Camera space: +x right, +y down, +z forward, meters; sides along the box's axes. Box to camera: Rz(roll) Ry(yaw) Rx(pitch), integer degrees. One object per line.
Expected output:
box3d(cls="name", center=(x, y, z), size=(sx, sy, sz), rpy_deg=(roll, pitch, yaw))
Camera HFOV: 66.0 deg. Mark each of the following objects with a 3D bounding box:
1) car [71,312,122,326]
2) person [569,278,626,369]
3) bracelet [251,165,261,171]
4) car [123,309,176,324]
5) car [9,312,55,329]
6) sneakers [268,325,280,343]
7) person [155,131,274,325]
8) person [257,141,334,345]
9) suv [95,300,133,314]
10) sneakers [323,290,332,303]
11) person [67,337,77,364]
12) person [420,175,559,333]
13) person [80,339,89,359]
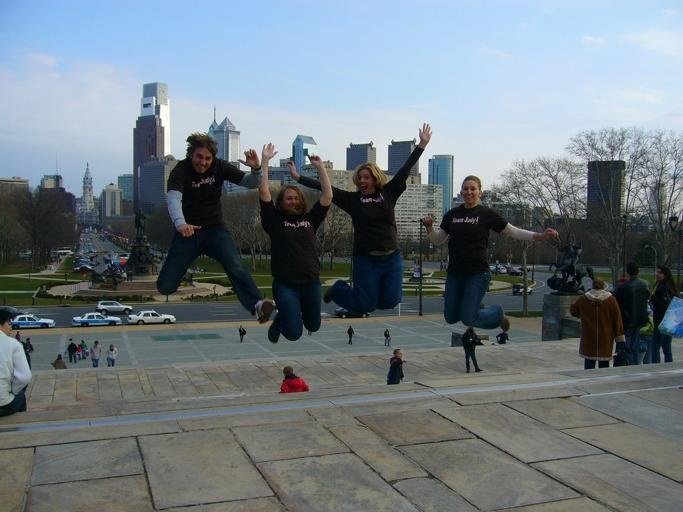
box3d(cls="car", center=(-15.949, 4.203, 33.925), size=(2.915, 0.776, 1.123), rpy_deg=(-1, 3, -19))
box3d(cls="person", center=(4.664, 1.282, 9.545), size=(0.832, 1.684, 0.950), rpy_deg=(0, 0, 25))
box3d(cls="bracelet", center=(-1.234, -1.260, 7.550), size=(0.147, 0.051, 0.134), rpy_deg=(0, 1, -2))
box3d(cls="car", center=(-12.803, 4.225, 35.241), size=(2.657, 0.617, 1.187), rpy_deg=(-1, 2, -11))
box3d(cls="car", center=(-19.300, 4.081, 32.750), size=(2.457, 0.671, 1.032), rpy_deg=(-1, 3, -13))
box3d(cls="sneakers", center=(-1.085, 1.278, 8.426), size=(0.200, 0.322, 0.239), rpy_deg=(2, 14, 2))
box3d(cls="person", center=(-1.928, -0.384, 7.759), size=(1.592, 2.820, 1.120), rpy_deg=(0, 0, -13))
box3d(cls="person", center=(-0.704, -0.139, 7.810), size=(1.086, 3.023, 1.092), rpy_deg=(0, 0, 19))
box3d(cls="suv", center=(-17.374, 4.043, 40.147), size=(2.653, 0.869, 1.118), rpy_deg=(-2, 5, -20))
box3d(cls="sneakers", center=(-0.227, 0.678, 8.761), size=(0.234, 0.187, 0.208), rpy_deg=(0, -10, 4))
box3d(cls="person", center=(-12.741, 4.521, 24.781), size=(0.402, 1.043, 1.489), rpy_deg=(0, 0, -26))
box3d(cls="person", center=(2.396, -0.048, 9.053), size=(1.187, 2.656, 0.535), rpy_deg=(0, 0, 10))
box3d(cls="person", center=(-12.497, 4.582, 25.430), size=(0.402, 0.986, 1.325), rpy_deg=(0, 0, -28))
